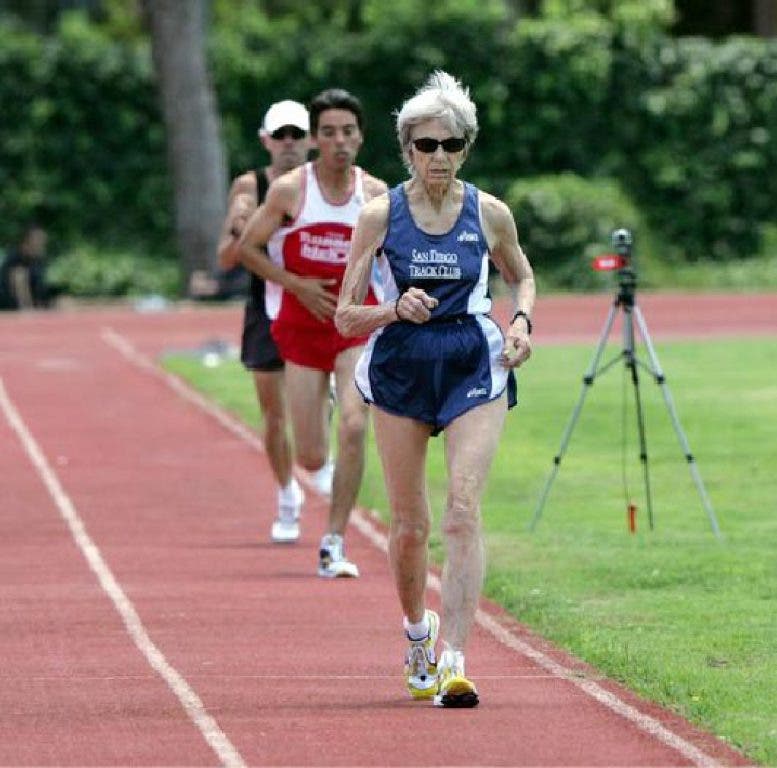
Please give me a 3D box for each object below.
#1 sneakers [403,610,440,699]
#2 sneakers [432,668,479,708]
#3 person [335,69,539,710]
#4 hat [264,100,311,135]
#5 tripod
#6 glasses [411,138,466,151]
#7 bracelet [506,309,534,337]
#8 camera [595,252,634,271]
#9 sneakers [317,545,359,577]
[{"bbox_3d":[0.112,0.915,5.179,0.100,0.281,0.128,-2,-39,2],"label":"sneakers"},{"bbox_3d":[0.229,0.986,4.969,0.153,0.136,0.122,2,6,-3],"label":"sneakers"},{"bbox_3d":[0.137,0.005,5.091,0.651,2.074,0.572,3,6,4],"label":"person"},{"bbox_3d":[-0.528,-1.352,7.821,0.175,0.106,0.242,0,4,-4],"label":"hat"},{"bbox_3d":[1.211,0.074,7.528,0.483,1.289,1.022,0,7,-20],"label":"tripod"},{"bbox_3d":[0.168,-0.782,5.030,0.163,0.060,0.065,2,6,-4],"label":"glasses"},{"bbox_3d":[0.458,-0.215,5.188,0.090,0.059,0.094,8,-22,17],"label":"bracelet"},{"bbox_3d":[1.122,-0.600,7.565,0.285,0.090,0.400,0,3,13],"label":"camera"},{"bbox_3d":[-0.240,0.816,7.033,0.186,0.117,0.121,4,-4,5],"label":"sneakers"}]
